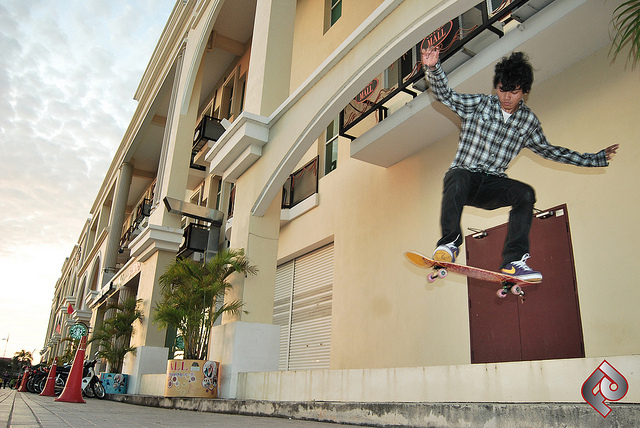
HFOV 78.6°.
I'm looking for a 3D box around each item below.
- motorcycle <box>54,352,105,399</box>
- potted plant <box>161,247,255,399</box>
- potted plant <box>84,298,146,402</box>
[{"bbox_3d":[-7.135,4.783,11.485,0.634,1.212,1.808,-33,-39,20],"label":"motorcycle"},{"bbox_3d":[-2.519,2.424,8.731,2.223,2.979,2.301,-13,-22,31],"label":"potted plant"},{"bbox_3d":[-6.945,4.754,13.059,1.324,2.096,1.254,13,-33,-33],"label":"potted plant"}]
